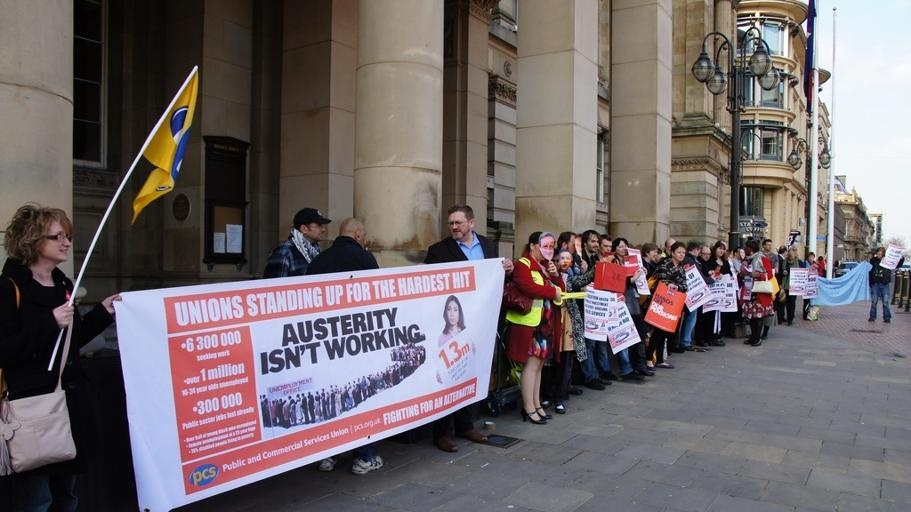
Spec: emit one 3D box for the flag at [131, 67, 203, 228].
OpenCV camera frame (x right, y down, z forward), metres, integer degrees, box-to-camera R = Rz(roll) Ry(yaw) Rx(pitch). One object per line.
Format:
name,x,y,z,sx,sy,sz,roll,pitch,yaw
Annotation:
flag,-4.202,-1.632,10.792,1.097,2.009,0.444,-10,16,-38

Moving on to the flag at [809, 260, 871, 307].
flag,15.272,1.139,29.426,1.930,1.527,0.218,-2,-6,-1

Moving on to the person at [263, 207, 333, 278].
person,-2.993,-0.255,14.350,0.689,1.320,1.298,11,11,11

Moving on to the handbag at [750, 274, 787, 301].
handbag,8.920,0.878,21.224,0.825,0.771,0.304,0,-6,-17

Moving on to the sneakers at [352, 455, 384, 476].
sneakers,-1.413,3.293,12.025,0.196,0.294,0.578,7,10,44

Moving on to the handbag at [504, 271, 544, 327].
handbag,1.326,0.767,13.414,0.336,0.899,0.689,7,1,-32

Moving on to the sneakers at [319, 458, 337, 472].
sneakers,-2.074,3.313,12.084,0.151,0.165,0.359,0,-9,2

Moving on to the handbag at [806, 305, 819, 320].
handbag,12.889,2.006,26.798,0.455,0.519,0.276,-1,14,-5

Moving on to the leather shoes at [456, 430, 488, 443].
leather shoes,0.311,3.090,13.116,0.522,0.224,0.200,-4,-5,23
